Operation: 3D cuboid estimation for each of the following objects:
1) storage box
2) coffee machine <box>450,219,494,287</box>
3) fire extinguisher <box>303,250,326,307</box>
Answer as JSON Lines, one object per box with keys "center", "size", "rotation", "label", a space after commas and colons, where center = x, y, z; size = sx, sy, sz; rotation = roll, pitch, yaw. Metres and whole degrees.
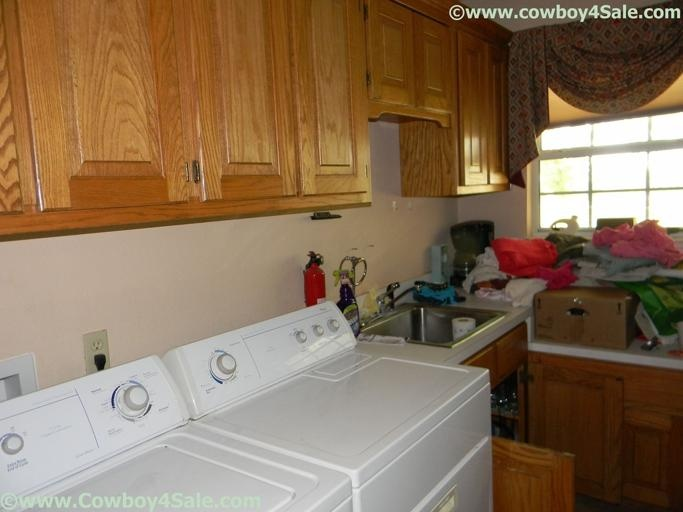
{"center": [1.305, 0.338, 2.539], "size": [0.357, 0.214, 0.361], "rotation": [0, 2, 35], "label": "storage box"}
{"center": [0.904, -0.034, 3.306], "size": [0.238, 0.418, 0.392], "rotation": [8, 17, 37], "label": "coffee machine"}
{"center": [-0.130, 0.129, 2.162], "size": [0.109, 0.288, 0.089], "rotation": [-4, 24, -12], "label": "fire extinguisher"}
